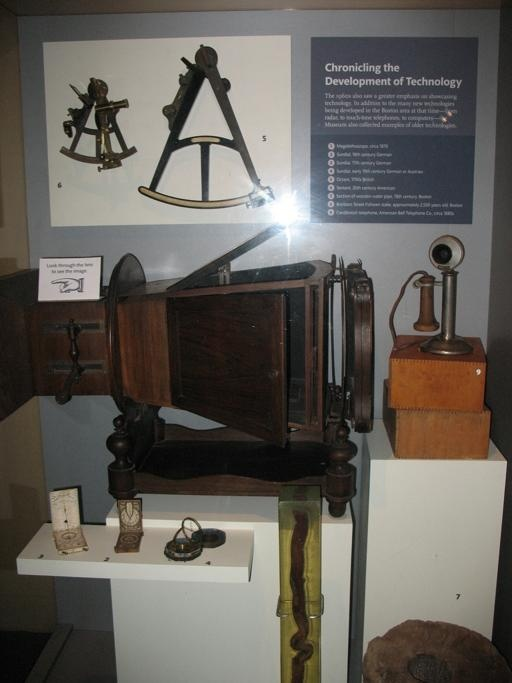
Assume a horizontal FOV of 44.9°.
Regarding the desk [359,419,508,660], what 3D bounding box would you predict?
[{"bbox_3d":[0.536,0.518,2.207,0.527,0.992,0.511,2,14,14],"label":"desk"}]
